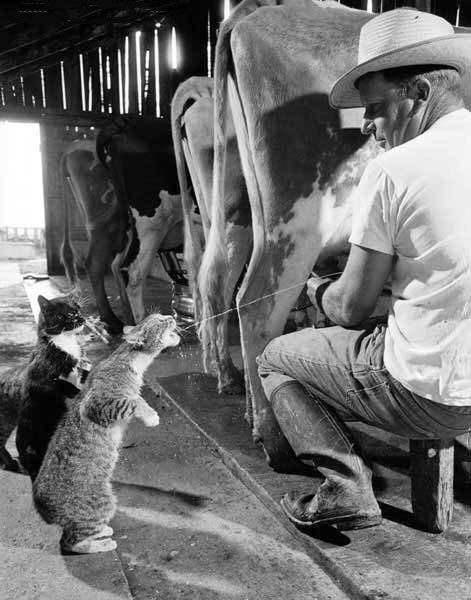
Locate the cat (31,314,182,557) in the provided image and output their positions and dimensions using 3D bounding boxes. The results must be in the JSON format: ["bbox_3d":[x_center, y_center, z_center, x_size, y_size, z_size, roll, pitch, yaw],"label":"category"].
[{"bbox_3d":[-0.343,0.314,2.073,0.341,0.793,0.233,25,-9,-12],"label":"cat"}]

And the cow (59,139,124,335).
[{"bbox_3d":[-1.275,-0.968,6.591,0.500,1.566,2.018,-7,15,-14],"label":"cow"}]

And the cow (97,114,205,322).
[{"bbox_3d":[-0.579,-0.744,5.907,0.484,1.540,1.959,7,19,18],"label":"cow"}]

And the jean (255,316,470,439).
[{"bbox_3d":[0.359,0.167,1.925,0.460,0.181,0.347,10,1,42],"label":"jean"}]
